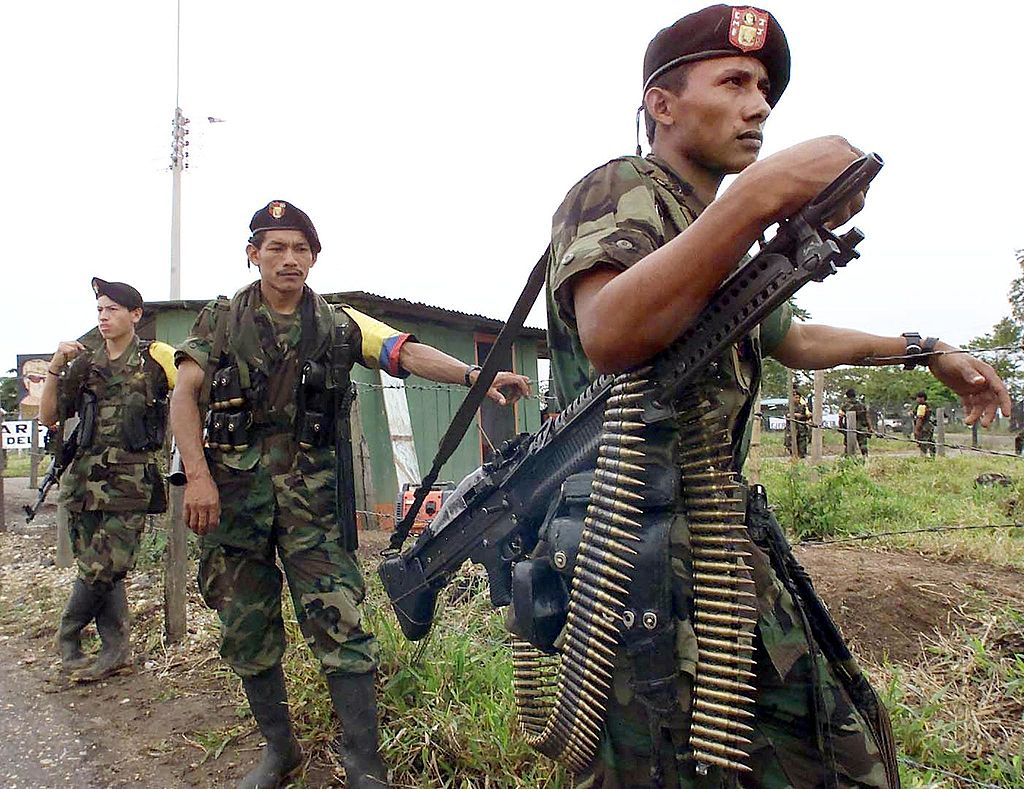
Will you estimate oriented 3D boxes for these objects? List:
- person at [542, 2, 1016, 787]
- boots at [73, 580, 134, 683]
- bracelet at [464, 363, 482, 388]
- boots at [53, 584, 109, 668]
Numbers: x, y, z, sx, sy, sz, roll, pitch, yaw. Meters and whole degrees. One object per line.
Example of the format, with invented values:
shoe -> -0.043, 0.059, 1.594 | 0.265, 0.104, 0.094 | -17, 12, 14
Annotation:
person -> 0.758, 0.027, 2.623 | 1.321, 2.431, 0.909 | -6, 5, -38
boots -> -2.646, 1.530, 5.374 | 0.265, 0.763, 0.244 | -16, -40, 10
bracelet -> -0.167, -0.100, 3.752 | 0.068, 0.107, 0.114 | 2, 39, 15
boots -> -2.784, 1.447, 5.335 | 0.385, 0.530, 0.328 | -3, 4, -10
